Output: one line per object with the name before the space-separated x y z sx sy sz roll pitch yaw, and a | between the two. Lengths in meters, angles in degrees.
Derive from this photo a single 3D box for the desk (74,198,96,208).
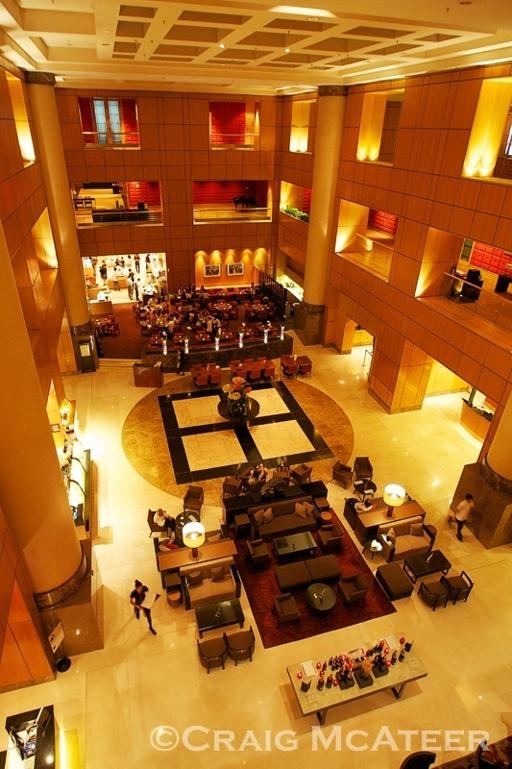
desk | -7.746 -8.189 22.596 0.980 0.508 0.718 -5 39 -13

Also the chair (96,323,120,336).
chair | -6.031 -2.261 20.264 0.589 0.300 0.604 -16 48 -26

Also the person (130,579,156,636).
person | -1.904 3.672 8.450 0.434 0.912 0.603 -5 19 -11

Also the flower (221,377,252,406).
flower | -0.573 0.238 14.995 0.517 0.586 0.977 17 -7 0
